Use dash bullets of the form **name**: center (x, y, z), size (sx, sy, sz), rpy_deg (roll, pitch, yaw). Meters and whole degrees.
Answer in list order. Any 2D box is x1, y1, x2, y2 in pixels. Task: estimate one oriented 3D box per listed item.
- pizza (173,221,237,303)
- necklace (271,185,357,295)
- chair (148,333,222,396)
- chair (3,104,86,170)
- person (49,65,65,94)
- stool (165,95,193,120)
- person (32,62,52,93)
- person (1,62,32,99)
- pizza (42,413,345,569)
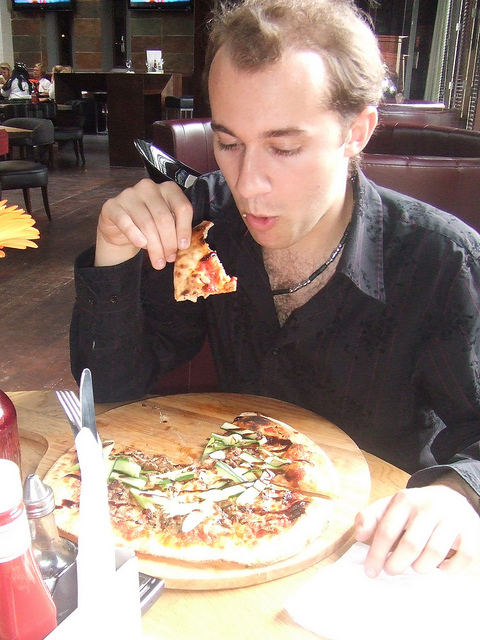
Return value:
- **pizza**: center (-0.054, -0.144, 1.303), size (0.203, 0.237, 0.061), rpy_deg (-7, -20, -1)
- **necklace**: center (0.219, -0.142, 1.461), size (0.017, 0.206, 0.295), rpy_deg (4, -28, -43)
- **chair**: center (-0.228, 0.182, 2.150), size (0.276, 0.230, 0.256), rpy_deg (1, -6, -6)
- **chair**: center (-3.652, -3.538, 10.341), size (1.186, 1.122, 2.676), rpy_deg (-1, 20, -9)
- **person**: center (-4.533, -5.869, 13.127), size (0.367, 0.707, 2.162), rpy_deg (-4, 21, -18)
- **stool**: center (-1.372, -4.668, 11.793), size (0.589, 0.479, 0.806), rpy_deg (0, 21, -8)
- **person**: center (-5.543, -6.709, 14.899), size (0.409, 0.820, 2.370), rpy_deg (-5, 21, -19)
- **person**: center (-4.962, -5.245, 11.751), size (0.622, 0.743, 1.398), rpy_deg (-4, 21, -18)
- **pizza**: center (-0.077, 0.294, 0.967), size (0.492, 0.038, 0.469), rpy_deg (-11, 19, -25)
